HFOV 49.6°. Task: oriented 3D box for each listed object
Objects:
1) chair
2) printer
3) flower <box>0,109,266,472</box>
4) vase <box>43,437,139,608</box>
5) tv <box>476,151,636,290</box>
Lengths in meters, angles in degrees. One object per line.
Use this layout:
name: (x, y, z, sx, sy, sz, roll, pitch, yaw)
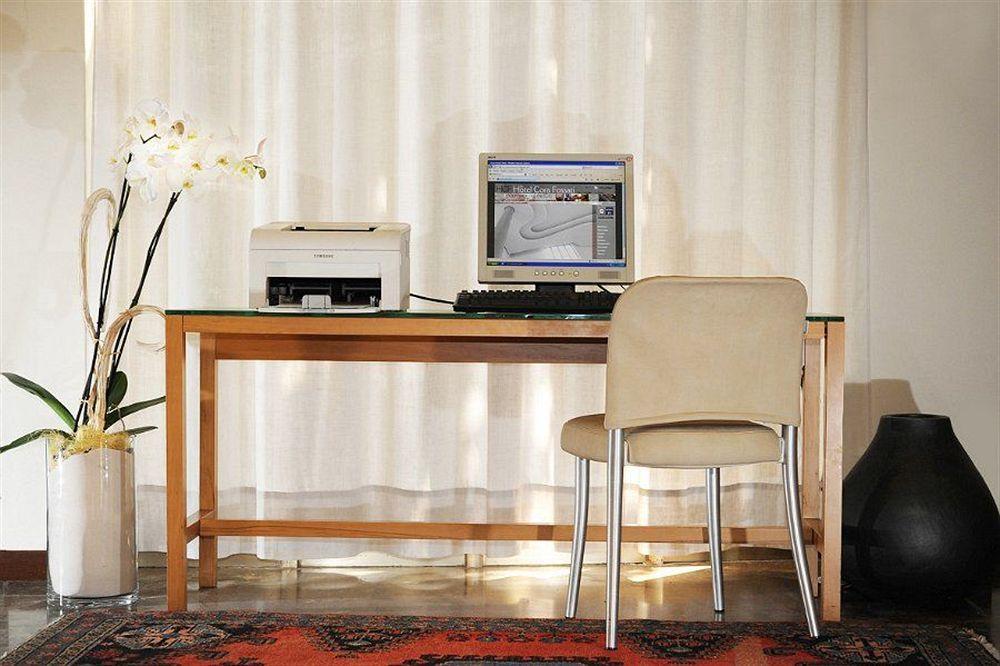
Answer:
chair: (0.653, 0.406, 3.621, 0.828, 1.217, 0.391, -1, 14, -6)
printer: (-0.604, -0.235, 3.878, 0.546, 0.280, 0.293, 0, 13, 0)
flower: (-1.373, -0.186, 4.092, 0.965, 1.264, 0.671, -3, 14, -14)
vase: (-1.473, 0.687, 3.902, 0.316, 0.559, 0.184, -5, 15, -20)
tv: (0.217, -0.423, 4.077, 0.589, 0.460, 0.059, 1, -1, -3)
